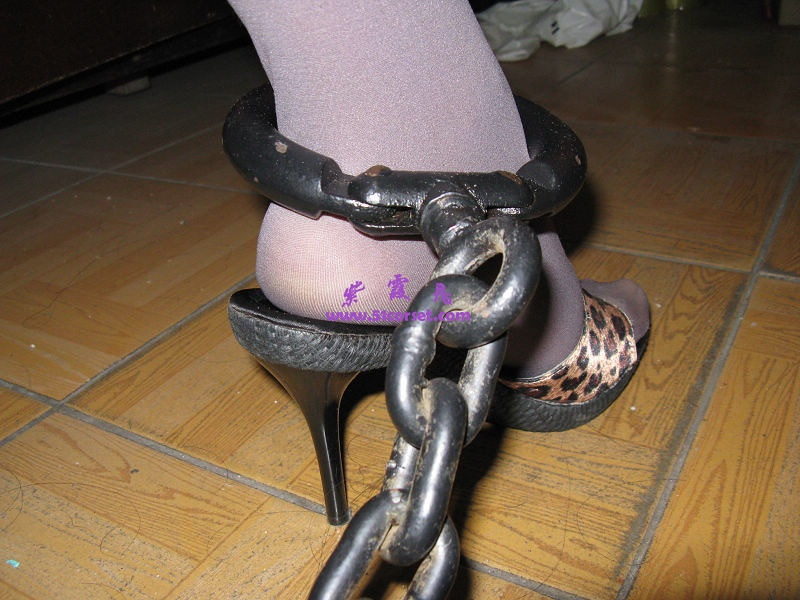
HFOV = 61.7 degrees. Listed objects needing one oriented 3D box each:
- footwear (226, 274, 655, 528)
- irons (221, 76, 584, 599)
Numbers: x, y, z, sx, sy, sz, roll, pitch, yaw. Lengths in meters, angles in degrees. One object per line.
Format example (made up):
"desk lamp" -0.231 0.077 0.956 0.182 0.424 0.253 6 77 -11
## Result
"footwear" 0.157 0.019 1.033 0.755 0.311 0.246 -18 32 -27
"irons" -0.032 -0.039 0.801 0.276 0.277 0.777 -3 26 1
